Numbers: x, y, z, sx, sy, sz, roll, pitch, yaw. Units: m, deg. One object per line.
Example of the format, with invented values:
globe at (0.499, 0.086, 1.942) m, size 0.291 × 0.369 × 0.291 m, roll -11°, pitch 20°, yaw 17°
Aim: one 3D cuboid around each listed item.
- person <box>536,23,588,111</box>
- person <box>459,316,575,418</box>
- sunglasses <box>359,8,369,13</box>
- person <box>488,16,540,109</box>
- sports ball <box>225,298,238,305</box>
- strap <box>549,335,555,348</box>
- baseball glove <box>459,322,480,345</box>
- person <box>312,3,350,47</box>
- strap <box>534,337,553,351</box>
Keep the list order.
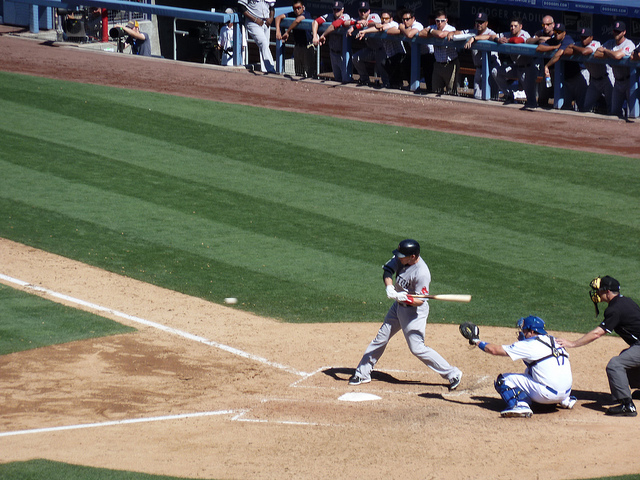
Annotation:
person at (4.818, -3.177, 27.107) m, size 1.172 × 2.185 × 0.614 m, roll 6°, pitch -14°, yaw -28°
person at (3.031, 1.910, 20.212) m, size 1.497 × 1.482 × 0.492 m, roll 3°, pitch 6°, yaw 10°
sunglasses at (0.905, -4.824, 28.662) m, size 0.227 × 0.092 × 0.122 m, roll 6°, pitch 7°, yaw 26°
person at (3.920, -3.524, 27.430) m, size 1.026 × 1.734 × 0.765 m, roll 3°, pitch 6°, yaw 7°
sports ball at (-1.475, 1.051, 22.826) m, size 0.212 × 0.085 × 0.148 m, roll 1°, pitch 7°, yaw -10°
strap at (3.419, 1.526, 20.179) m, size 0.040 × 0.149 × 0.024 m, roll -18°, pitch -9°, yaw -20°
baseball glove at (2.237, 1.401, 20.513) m, size 0.221 × 0.359 × 0.140 m, roll -32°, pitch -8°, yaw -3°
person at (0.222, -4.589, 29.159) m, size 0.758 × 0.940 × 0.928 m, roll 2°, pitch 6°, yaw -2°
strap at (3.275, 1.564, 20.117) m, size 0.265 × 0.041 × 0.040 m, roll 35°, pitch 41°, yaw 7°
